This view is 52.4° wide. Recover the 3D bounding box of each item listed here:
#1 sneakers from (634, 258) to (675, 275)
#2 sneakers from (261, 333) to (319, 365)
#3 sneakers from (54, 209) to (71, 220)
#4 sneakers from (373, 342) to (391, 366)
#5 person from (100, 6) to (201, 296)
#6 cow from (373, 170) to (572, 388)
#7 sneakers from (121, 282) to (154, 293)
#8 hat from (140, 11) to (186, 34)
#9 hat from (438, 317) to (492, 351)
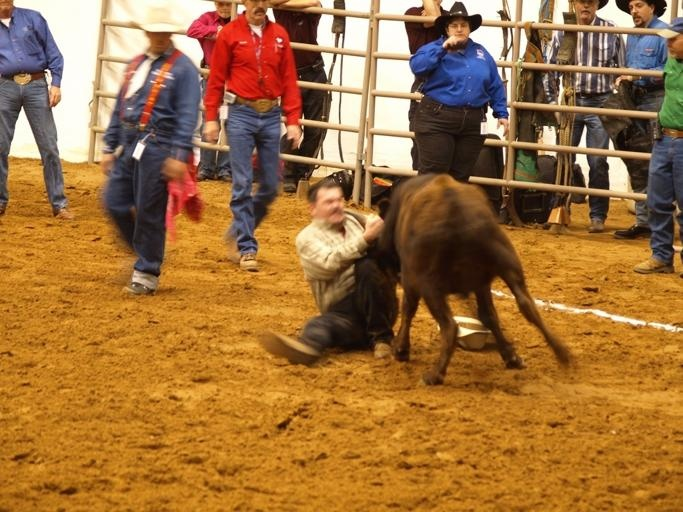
[{"bbox_3d":[2.874,0.090,6.475,0.408,0.156,0.145,3,-2,4],"label":"sneakers"},{"bbox_3d":[-0.304,0.562,4.189,0.301,0.089,0.121,20,20,-20],"label":"sneakers"},{"bbox_3d":[-3.012,-0.457,7.546,0.216,0.075,0.102,3,2,30],"label":"sneakers"},{"bbox_3d":[0.253,0.606,4.338,0.105,0.116,0.037,0,-31,6],"label":"sneakers"},{"bbox_3d":[-1.379,-0.716,5.081,0.742,2.037,0.425,9,8,38],"label":"person"},{"bbox_3d":[0.614,0.145,3.877,0.608,1.202,1.044,-1,8,-40],"label":"cow"},{"bbox_3d":[-1.533,0.254,5.235,0.196,0.067,0.082,17,-3,-31],"label":"sneakers"},{"bbox_3d":[-1.250,-1.621,4.792,0.304,0.170,0.279,3,5,-8],"label":"hat"},{"bbox_3d":[0.774,0.482,4.315,0.237,0.121,0.267,8,3,-18],"label":"hat"}]
